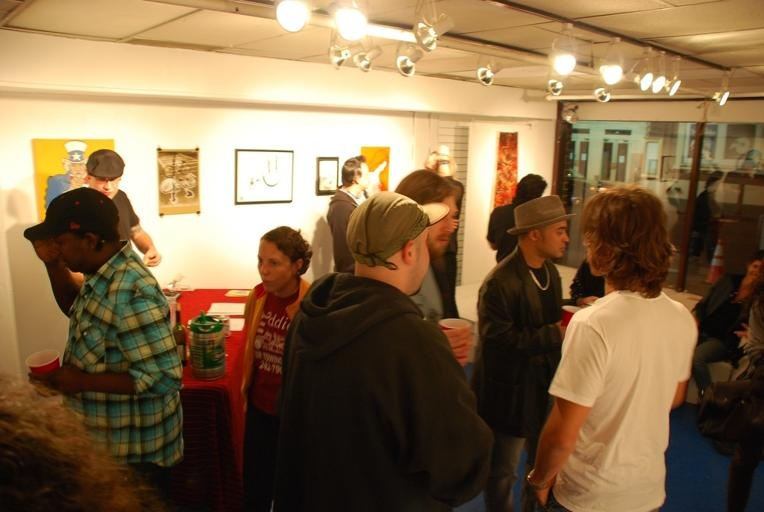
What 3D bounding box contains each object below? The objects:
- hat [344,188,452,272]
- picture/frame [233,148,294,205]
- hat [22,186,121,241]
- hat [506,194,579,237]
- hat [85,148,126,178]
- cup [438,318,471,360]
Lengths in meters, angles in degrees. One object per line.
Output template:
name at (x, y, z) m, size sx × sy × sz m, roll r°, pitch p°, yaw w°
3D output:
hat at (0.027, -0.182, 2.276) m, size 0.318 × 0.228 × 0.488 m, roll 25°, pitch 44°, yaw 32°
picture/frame at (-1.265, -0.847, 5.880) m, size 0.781 × 0.566 × 0.028 m, roll 4°, pitch 5°, yaw 25°
hat at (-1.464, -0.209, 2.588) m, size 0.442 × 0.206 × 0.296 m, roll -9°, pitch 12°, yaw -34°
hat at (0.964, -0.277, 3.371) m, size 0.452 × 0.154 × 0.381 m, roll -14°, pitch 9°, yaw 17°
hat at (-2.341, -0.764, 4.596) m, size 0.268 × 0.246 × 0.136 m, roll -5°, pitch 10°, yaw -29°
cup at (0.359, 0.419, 2.683) m, size 0.155 × 0.209 × 0.297 m, roll 1°, pitch 9°, yaw 5°
